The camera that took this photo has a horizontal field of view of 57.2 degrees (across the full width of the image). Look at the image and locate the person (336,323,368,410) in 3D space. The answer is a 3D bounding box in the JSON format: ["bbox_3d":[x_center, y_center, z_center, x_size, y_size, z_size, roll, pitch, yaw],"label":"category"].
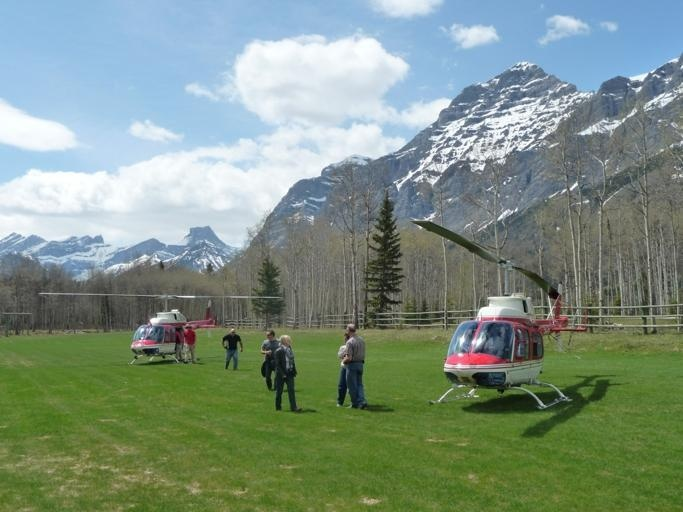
[{"bbox_3d":[0.491,3.733,21.230,0.889,2.669,1.021,1,-2,-40],"label":"person"}]

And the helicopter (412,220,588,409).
[{"bbox_3d":[5.921,2.567,22.406,3.888,6.092,11.034,-6,-11,42],"label":"helicopter"}]
